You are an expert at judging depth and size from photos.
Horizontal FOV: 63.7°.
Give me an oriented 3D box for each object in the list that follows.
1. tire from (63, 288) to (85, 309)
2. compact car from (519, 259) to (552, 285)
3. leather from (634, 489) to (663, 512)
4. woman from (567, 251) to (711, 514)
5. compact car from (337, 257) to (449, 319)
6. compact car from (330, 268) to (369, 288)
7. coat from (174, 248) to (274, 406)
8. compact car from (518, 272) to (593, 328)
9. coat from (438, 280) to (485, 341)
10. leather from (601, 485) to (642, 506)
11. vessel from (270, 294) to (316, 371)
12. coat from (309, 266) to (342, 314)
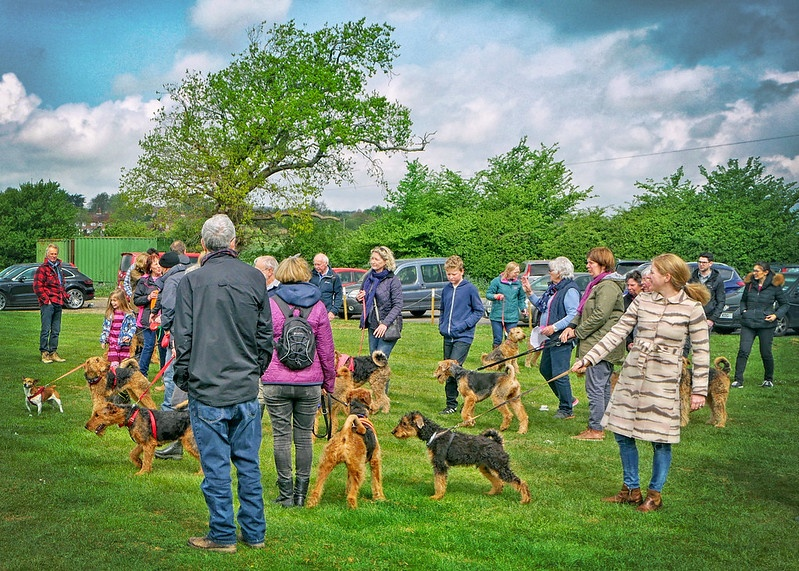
[{"bbox_3d":[-10.797,0.367,21.229,0.735,0.717,0.276,-5,8,-41],"label":"tire"},{"bbox_3d":[4.862,-0.369,23.130,1.072,0.890,1.737,1,8,4],"label":"compact car"},{"bbox_3d":[2.881,2.507,7.546,0.399,0.226,0.138,2,-5,-38],"label":"leather"},{"bbox_3d":[2.902,1.107,7.463,1.187,2.237,0.431,3,-1,26],"label":"woman"},{"bbox_3d":[-0.198,-0.008,23.128,3.723,1.850,1.987,1,-1,-23],"label":"compact car"},{"bbox_3d":[-2.077,-0.402,25.925,1.433,0.687,0.818,-7,12,-39],"label":"compact car"},{"bbox_3d":[-1.759,0.396,6.471,0.973,1.574,0.331,3,-1,-20],"label":"coat"},{"bbox_3d":[4.717,0.371,20.447,3.136,1.594,1.624,1,1,11],"label":"compact car"},{"bbox_3d":[1.044,0.412,10.956,0.779,0.939,0.384,3,-1,14],"label":"coat"},{"bbox_3d":[2.611,2.503,7.727,0.542,0.245,0.193,3,-1,18],"label":"leather"},{"bbox_3d":[-1.161,0.544,7.187,0.485,0.659,0.681,3,-2,-19],"label":"vessel"},{"bbox_3d":[-1.196,0.058,10.239,0.680,0.738,0.421,11,17,17],"label":"coat"}]
